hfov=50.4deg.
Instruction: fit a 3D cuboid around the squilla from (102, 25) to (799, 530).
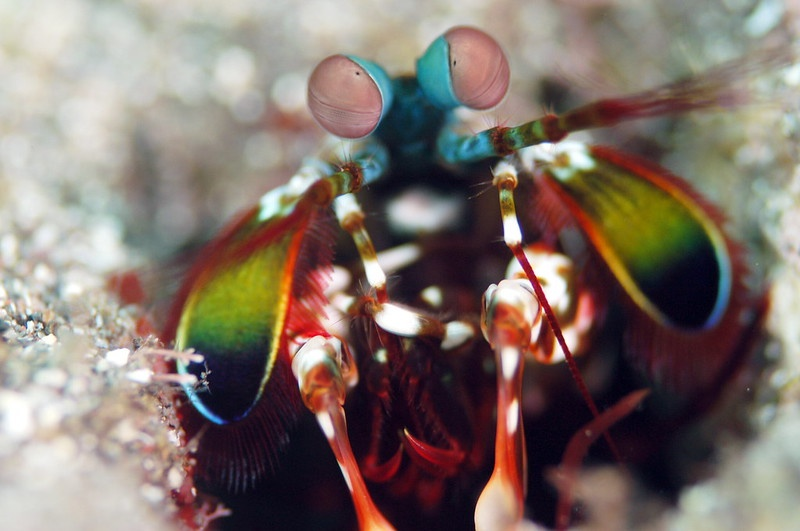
[{"bbox_3d":[0.076,0.037,1.290,1.030,0.533,0.632,-8,-52,7],"label":"squilla"}]
